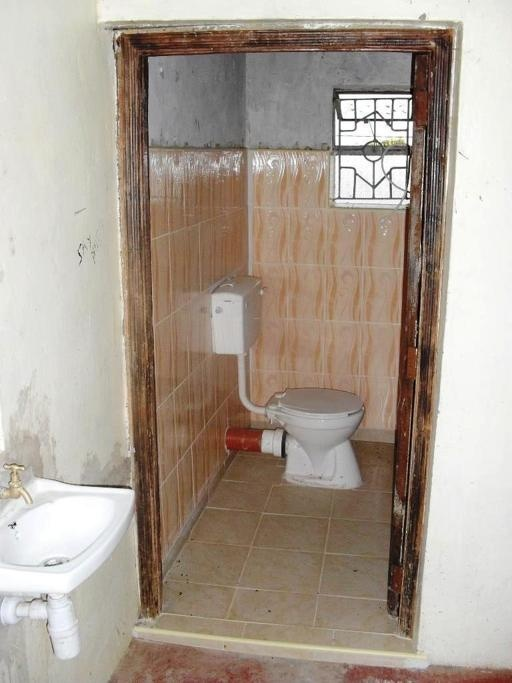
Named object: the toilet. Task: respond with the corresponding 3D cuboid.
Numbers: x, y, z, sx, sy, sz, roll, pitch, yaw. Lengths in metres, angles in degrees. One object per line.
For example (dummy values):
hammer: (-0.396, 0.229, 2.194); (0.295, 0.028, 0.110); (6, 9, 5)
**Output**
toilet: (0.214, 0.205, 3.176); (0.728, 1.170, 0.407); (-2, 20, 10)
